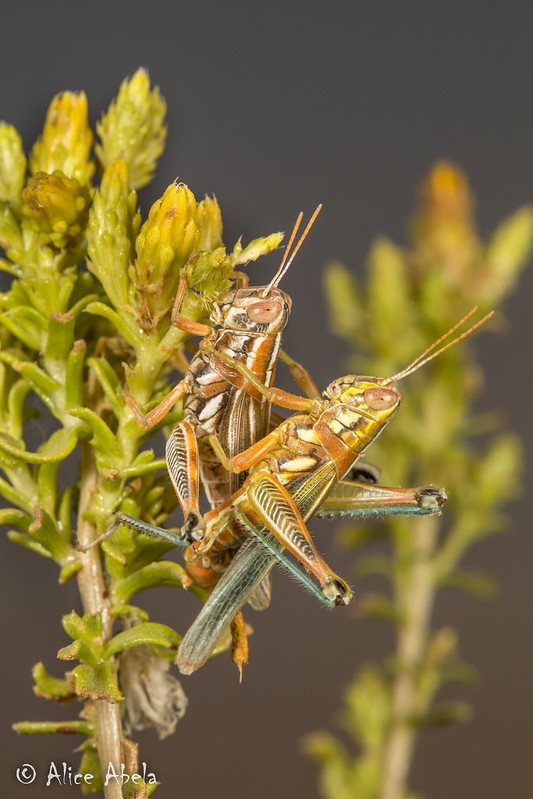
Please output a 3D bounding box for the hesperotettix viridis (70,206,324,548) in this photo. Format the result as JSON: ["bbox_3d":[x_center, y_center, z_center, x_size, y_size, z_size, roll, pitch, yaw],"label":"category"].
[{"bbox_3d":[-0.008,0.001,0.907,0.205,0.314,0.146,35,20,30],"label":"hesperotettix viridis"}]

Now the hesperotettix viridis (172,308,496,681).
[{"bbox_3d":[0.013,0.074,0.902,0.352,0.242,0.125,-46,13,-16],"label":"hesperotettix viridis"}]
